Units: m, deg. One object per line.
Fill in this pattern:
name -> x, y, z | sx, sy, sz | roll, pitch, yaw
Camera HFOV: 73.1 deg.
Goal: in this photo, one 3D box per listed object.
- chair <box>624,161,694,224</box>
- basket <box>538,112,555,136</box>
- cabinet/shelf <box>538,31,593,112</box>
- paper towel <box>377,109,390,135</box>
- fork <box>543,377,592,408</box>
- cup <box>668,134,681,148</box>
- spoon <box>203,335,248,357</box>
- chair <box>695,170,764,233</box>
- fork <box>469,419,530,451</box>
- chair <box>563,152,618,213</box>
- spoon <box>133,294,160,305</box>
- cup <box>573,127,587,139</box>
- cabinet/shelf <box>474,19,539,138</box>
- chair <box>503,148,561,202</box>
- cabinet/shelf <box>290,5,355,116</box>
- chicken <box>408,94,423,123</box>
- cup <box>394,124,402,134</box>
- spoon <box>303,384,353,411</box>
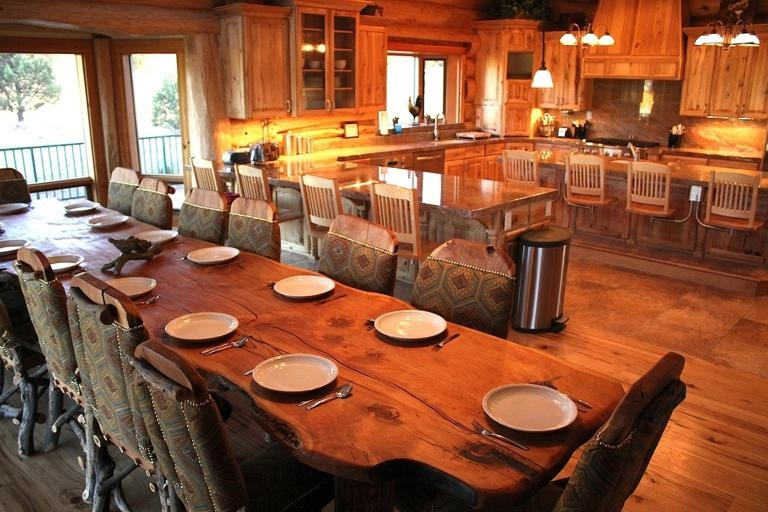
chair -> 3.044, -0.712, 5.825 | 0.585, 0.736, 0.598 | -17, 24, -41
basket -> 2.993, -2.411, 9.477 | 0.263, 0.421, 0.272 | 12, 23, 35
cabinet/shelf -> 3.163, -3.265, 9.088 | 0.868, 1.234, 0.460 | 11, 41, 30
paper towel -> 0.032, -2.120, 8.242 | 0.158, 0.374, 0.473 | 3, 18, 14
fork -> 0.766, 0.566, 2.163 | 0.070, 0.010, 0.226 | -9, 18, -30
cup -> 4.652, -1.840, 8.251 | 0.167, 0.224, 0.142 | 4, 19, 16
spoon -> -0.746, 0.431, 2.467 | 0.283, 0.039, 0.063 | -10, 38, -17
chair -> 3.586, -0.566, 5.338 | 0.440, 0.719, 0.536 | 15, 35, 36
fork -> 0.445, 0.689, 1.976 | 0.185, 0.026, 0.031 | 21, 48, 23
chair -> 2.474, -0.868, 6.188 | 0.496, 0.806, 0.519 | 16, 39, 33
spoon -> -1.300, 0.243, 2.852 | 0.187, 0.024, 0.036 | -7, 28, -4
cup -> 3.498, -2.193, 9.203 | 0.216, 0.204, 0.226 | -3, 18, 1
cabinet/shelf -> 2.253, -3.138, 9.305 | 1.003, 1.835, 1.000 | 12, 25, 35
chair -> 1.818, -0.987, 6.531 | 0.616, 0.747, 0.548 | -16, 25, -29
cabinet/shelf -> -0.833, -2.616, 6.797 | 1.296, 1.457, 0.427 | -14, 25, -37
chicken -> 0.537, -2.461, 8.628 | 0.251, 0.429, 0.373 | 0, 18, 3
cup -> 0.235, -2.034, 8.292 | 0.144, 0.143, 0.137 | -2, 17, 1
spoon -> -0.216, 0.588, 2.166 | 0.248, 0.037, 0.072 | -17, 29, -39
